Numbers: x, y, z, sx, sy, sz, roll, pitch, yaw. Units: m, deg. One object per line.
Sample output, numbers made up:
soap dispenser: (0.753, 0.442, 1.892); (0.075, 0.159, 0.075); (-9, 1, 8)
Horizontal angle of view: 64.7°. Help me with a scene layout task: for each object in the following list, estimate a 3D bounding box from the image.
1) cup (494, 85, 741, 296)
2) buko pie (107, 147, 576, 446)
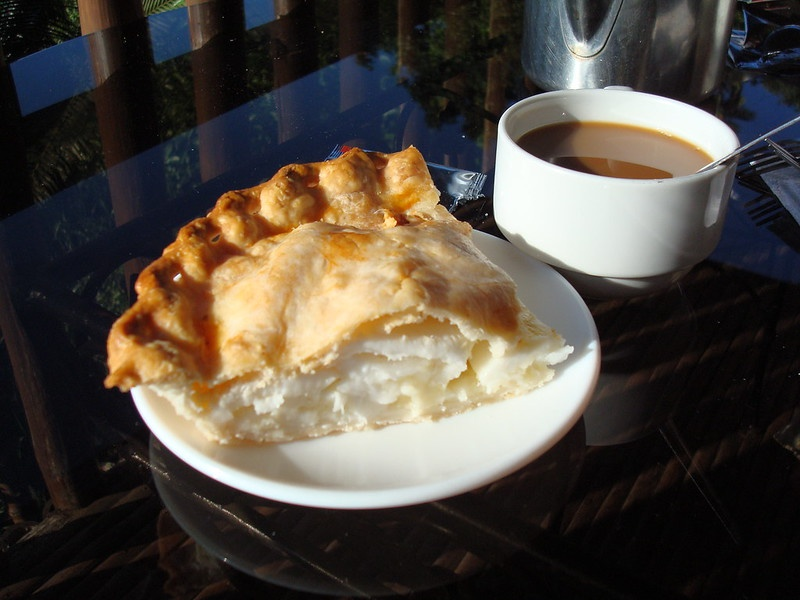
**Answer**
cup: (0.363, -0.122, 1.071); (0.358, 0.233, 0.349); (0, 37, 0)
buko pie: (-0.117, -0.011, 0.945); (0.571, 0.205, 0.413); (-17, 46, -15)
